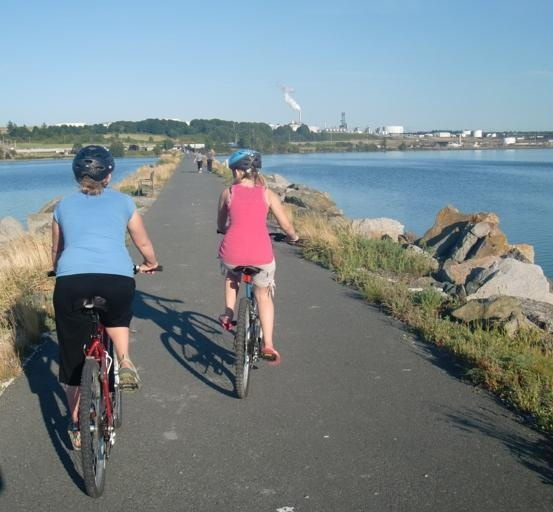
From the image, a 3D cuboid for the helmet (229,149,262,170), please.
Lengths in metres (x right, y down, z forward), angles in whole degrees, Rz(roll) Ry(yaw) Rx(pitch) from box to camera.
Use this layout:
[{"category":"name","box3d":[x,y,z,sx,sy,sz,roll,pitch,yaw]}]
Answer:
[{"category":"helmet","box3d":[-0.279,-0.896,5.253,0.248,0.177,0.212,-11,18,-25]}]

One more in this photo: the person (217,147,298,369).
[{"category":"person","box3d":[-0.218,0.064,5.766,0.754,2.309,1.231,-1,10,-5]}]

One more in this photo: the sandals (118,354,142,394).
[{"category":"sandals","box3d":[-1.099,0.912,4.223,0.125,0.337,0.131,-2,31,0]}]

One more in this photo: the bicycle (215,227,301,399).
[{"category":"bicycle","box3d":[-0.180,0.639,5.661,0.594,0.932,1.374,1,17,-2]}]

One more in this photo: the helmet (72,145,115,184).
[{"category":"helmet","box3d":[-1.353,-0.690,4.156,0.214,0.301,0.327,4,26,-1]}]

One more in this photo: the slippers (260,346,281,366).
[{"category":"slippers","box3d":[-0.051,0.975,5.487,0.097,0.265,0.131,-2,58,5]}]

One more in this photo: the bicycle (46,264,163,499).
[{"category":"bicycle","box3d":[-1.053,0.897,4.218,0.695,1.066,1.566,-1,12,-7]}]
